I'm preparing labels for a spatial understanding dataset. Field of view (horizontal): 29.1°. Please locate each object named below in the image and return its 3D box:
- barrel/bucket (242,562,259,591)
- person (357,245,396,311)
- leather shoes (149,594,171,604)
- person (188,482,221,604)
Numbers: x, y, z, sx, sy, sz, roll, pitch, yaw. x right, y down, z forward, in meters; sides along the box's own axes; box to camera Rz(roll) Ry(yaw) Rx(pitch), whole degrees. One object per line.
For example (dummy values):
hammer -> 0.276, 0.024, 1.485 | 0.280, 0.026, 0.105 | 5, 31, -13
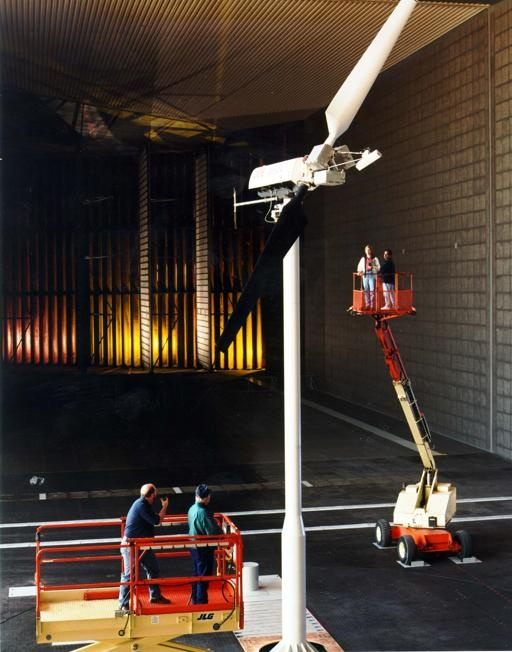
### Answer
barrel/bucket -> -0.108, 4.949, 19.251 | 0.301, 0.512, 0.299 | -1, -1, 0
person -> 2.742, -1.126, 22.523 | 0.838, 1.547, 2.223 | -1, -1, 8
leather shoes -> -1.502, 4.315, 15.435 | 0.359, 0.153, 0.121 | 0, 3, -10
person -> -0.816, 3.509, 15.919 | 0.530, 1.753, 1.066 | -1, -1, -4
